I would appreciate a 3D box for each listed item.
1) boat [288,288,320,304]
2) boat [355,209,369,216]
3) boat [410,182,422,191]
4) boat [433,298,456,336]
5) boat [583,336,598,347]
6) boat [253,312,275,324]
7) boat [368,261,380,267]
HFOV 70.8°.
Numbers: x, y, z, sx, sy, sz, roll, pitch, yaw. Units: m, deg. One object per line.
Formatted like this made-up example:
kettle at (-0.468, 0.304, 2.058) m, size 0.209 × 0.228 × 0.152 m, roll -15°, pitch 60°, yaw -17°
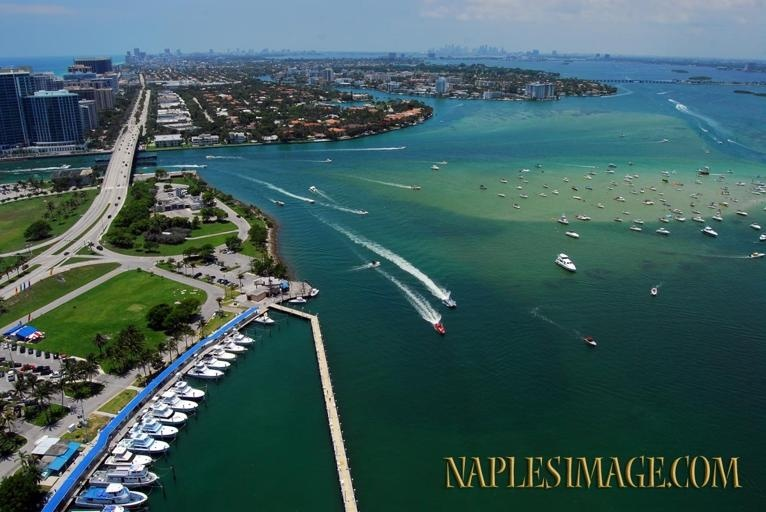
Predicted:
boat at (-9.073, 4.959, 64.439) m, size 4.455 × 1.044 × 1.099 m, roll -12°, pitch 69°, yaw -11°
boat at (-3.378, -7.047, 87.356) m, size 1.230 × 0.648 × 1.555 m, roll -3°, pitch 19°, yaw -16°
boat at (6.097, -13.000, 100.687) m, size 2.298 × 0.954 × 3.009 m, roll 1°, pitch 14°, yaw 4°
boat at (6.948, 6.945, 60.893) m, size 1.777 × 1.347 × 5.407 m, roll 18°, pitch 38°, yaw 5°
boat at (21.843, 9.009, 56.752) m, size 0.881 × 0.557 × 1.302 m, roll -23°, pitch 31°, yaw -9°
boat at (-13.381, 7.158, 60.951) m, size 2.512 × 0.595 × 1.003 m, roll 0°, pitch 27°, yaw 22°
boat at (-1.121, 1.070, 70.512) m, size 0.910 × 0.304 × 0.963 m, roll -5°, pitch 19°, yaw -12°
